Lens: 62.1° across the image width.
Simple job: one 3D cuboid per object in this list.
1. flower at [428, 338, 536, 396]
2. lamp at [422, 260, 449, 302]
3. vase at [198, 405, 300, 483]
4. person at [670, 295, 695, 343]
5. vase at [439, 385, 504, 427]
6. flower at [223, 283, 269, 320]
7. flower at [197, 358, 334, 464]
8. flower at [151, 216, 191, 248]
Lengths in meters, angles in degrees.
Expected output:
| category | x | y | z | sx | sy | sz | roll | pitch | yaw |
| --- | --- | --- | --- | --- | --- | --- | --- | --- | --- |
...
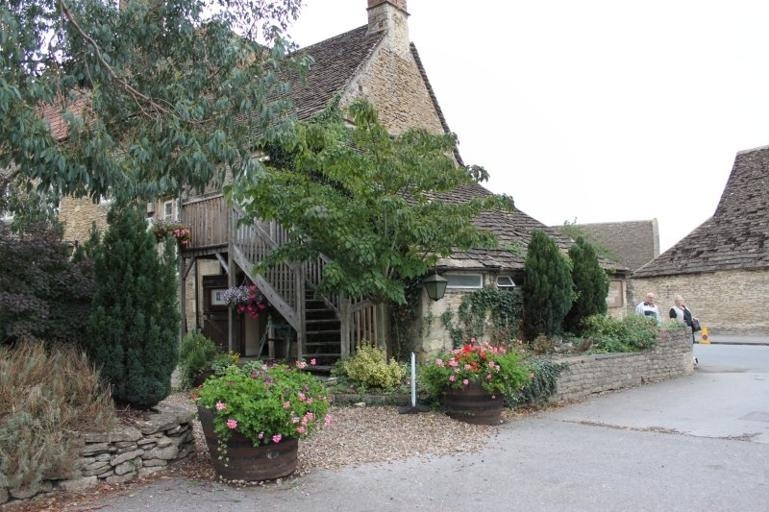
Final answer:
| category | x | y | z | sx | sy | sz | roll | pitch | yaw |
| --- | --- | --- | --- | --- | --- | --- | --- | --- | --- |
| flower | 1.677 | 2.229 | 11.679 | 1.315 | 0.660 | 1.131 | 13 | -34 | -28 |
| lamp | 1.099 | 0.454 | 13.992 | 0.539 | 0.994 | 0.514 | 0 | 4 | 20 |
| vase | -1.912 | 2.627 | 9.104 | 1.099 | 0.725 | 1.025 | 1 | -10 | -6 |
| person | 8.815 | 1.820 | 18.860 | 0.673 | 1.394 | 2.633 | 3 | 5 | 26 |
| vase | 1.553 | 2.630 | 11.432 | 0.786 | 0.505 | 0.758 | -2 | -10 | 16 |
| flower | -3.544 | 1.181 | 16.655 | 1.043 | 0.787 | 0.858 | 16 | 19 | 18 |
| flower | -1.714 | 2.096 | 8.999 | 1.279 | 0.806 | 1.315 | 1 | -5 | 15 |
| flower | -5.747 | -0.546 | 17.372 | 0.902 | 0.781 | 1.008 | -1 | 5 | -17 |
